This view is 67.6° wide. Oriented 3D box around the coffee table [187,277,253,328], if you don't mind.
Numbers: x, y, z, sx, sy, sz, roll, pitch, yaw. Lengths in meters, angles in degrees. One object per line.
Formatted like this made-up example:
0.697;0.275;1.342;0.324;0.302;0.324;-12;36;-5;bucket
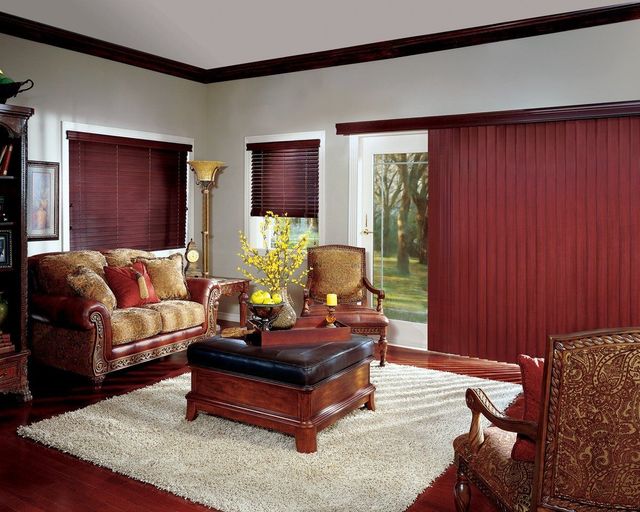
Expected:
-1.261;0.637;5.865;0.847;0.529;0.833;-12;-3;-28;coffee table

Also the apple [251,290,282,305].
-0.427;0.318;3.687;0.191;0.087;0.113;0;-4;34;apple

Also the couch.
-1.960;0.489;4.868;1.011;0.951;1.784;4;6;23;couch

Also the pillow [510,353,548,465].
0.821;0.609;1.860;0.115;0.330;0.342;0;-2;9;pillow

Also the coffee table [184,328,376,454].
-0.269;0.934;3.698;1.454;0.522;1.398;1;2;-4;coffee table

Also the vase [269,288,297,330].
-0.313;0.428;3.793;0.274;0.343;0.256;2;-1;8;vase

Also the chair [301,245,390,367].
0.250;0.512;5.152;0.990;1.141;0.905;1;5;14;chair

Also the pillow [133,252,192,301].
-1.625;0.216;5.113;0.532;0.476;0.160;-6;-12;-40;pillow

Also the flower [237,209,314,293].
-0.578;0.095;5.869;0.821;1.159;0.897;-2;-5;14;flower

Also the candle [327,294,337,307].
0.102;0.377;4.011;0.086;0.121;0.147;0;6;-4;candle

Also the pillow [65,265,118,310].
-2.019;0.311;4.295;0.353;0.402;0.541;-5;8;-42;pillow
